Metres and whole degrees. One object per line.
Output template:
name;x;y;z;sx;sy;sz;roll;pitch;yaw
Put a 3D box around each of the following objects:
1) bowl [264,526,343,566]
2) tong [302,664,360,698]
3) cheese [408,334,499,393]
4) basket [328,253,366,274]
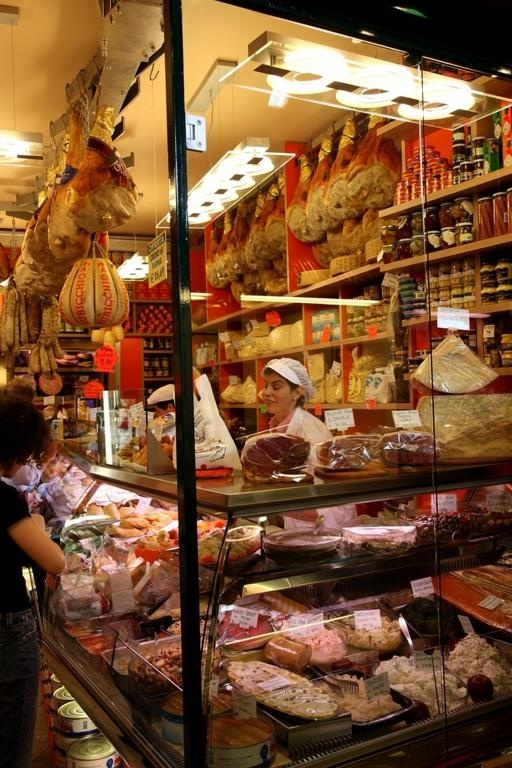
bowl;0.089;0.300;1.141;0.105;0.027;0.106;-1;-6;0
tong;0.167;0.646;1.245;0.119;0.056;0.050;-5;1;-10
cheese;0.464;-0.053;1.405;0.148;0.149;0.222;-6;4;-38
basket;0.206;-0.278;1.320;0.094;0.049;0.028;-6;1;-22
